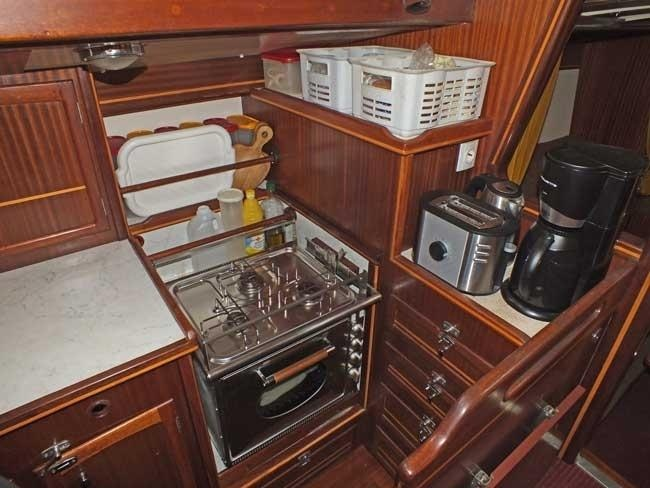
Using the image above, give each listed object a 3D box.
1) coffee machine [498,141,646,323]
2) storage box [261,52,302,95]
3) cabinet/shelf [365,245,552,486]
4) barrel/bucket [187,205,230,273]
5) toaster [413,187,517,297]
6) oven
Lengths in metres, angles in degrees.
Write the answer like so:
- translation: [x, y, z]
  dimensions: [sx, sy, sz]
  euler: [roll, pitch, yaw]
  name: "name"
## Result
- translation: [0.829, -0.054, 1.739]
  dimensions: [0.446, 0.622, 0.431]
  euler: [21, 27, 6]
  name: "coffee machine"
- translation: [-0.199, -0.794, 2.098]
  dimensions: [0.150, 0.140, 0.219]
  euler: [-28, 44, -29]
  name: "storage box"
- translation: [0.501, 0.535, 2.050]
  dimensions: [0.624, 0.949, 0.528]
  euler: [-24, 41, -33]
  name: "cabinet/shelf"
- translation: [-0.537, -0.032, 2.135]
  dimensions: [0.169, 0.310, 0.173]
  euler: [3, 24, -1]
  name: "barrel/bucket"
- translation: [0.514, 0.008, 1.705]
  dimensions: [0.218, 0.480, 0.224]
  euler: [-13, 33, -24]
  name: "toaster"
- translation: [-0.264, 0.509, 2.243]
  dimensions: [0.804, 0.603, 0.731]
  euler: [-7, 29, -27]
  name: "oven"
